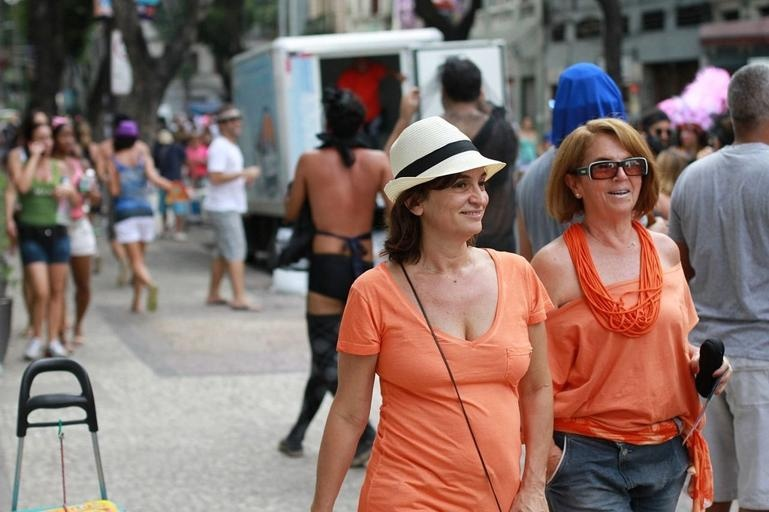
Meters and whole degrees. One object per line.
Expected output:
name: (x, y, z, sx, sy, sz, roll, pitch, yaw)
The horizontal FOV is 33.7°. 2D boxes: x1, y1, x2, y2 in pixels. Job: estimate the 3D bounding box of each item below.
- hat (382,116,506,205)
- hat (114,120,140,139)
hat: (0.279, -0.416, 5.850, 0.407, 0.237, 0.393, -31, -5, 17)
hat: (-1.450, -0.715, 7.234, 0.108, 0.110, 0.084, 2, 6, 26)
